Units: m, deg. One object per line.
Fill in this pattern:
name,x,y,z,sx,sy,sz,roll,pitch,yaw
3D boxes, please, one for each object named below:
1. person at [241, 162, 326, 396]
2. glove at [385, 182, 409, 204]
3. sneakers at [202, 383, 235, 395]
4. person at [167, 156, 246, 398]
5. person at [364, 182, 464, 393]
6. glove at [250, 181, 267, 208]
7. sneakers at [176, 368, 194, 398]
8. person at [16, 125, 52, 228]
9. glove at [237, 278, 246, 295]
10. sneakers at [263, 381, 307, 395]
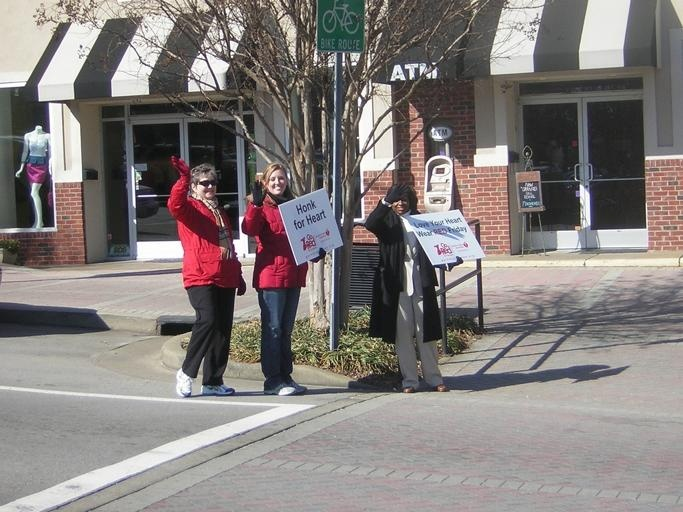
person,-0.694,0.246,7.958,0.646,2.386,0.413,-2,7,-11
glove,0.568,-0.642,7.849,0.262,0.206,0.203,-1,7,0
sneakers,-1.305,1.395,8.055,0.339,0.159,0.130,0,-1,-5
person,-1.384,0.232,7.851,0.692,2.450,0.420,-3,7,-13
person,0.667,0.339,7.933,0.790,2.167,0.267,0,7,6
glove,-0.843,-0.637,7.787,0.133,0.253,0.323,-2,7,-5
sneakers,-1.668,1.286,8.026,0.120,0.362,0.154,16,-56,-43
person,-7.532,-1.949,18.825,0.906,2.495,0.272,2,7,23
glove,-1.097,0.330,8.173,0.055,0.178,0.123,4,1,15
sneakers,-0.602,1.388,7.994,0.262,0.115,0.186,-5,-3,14
